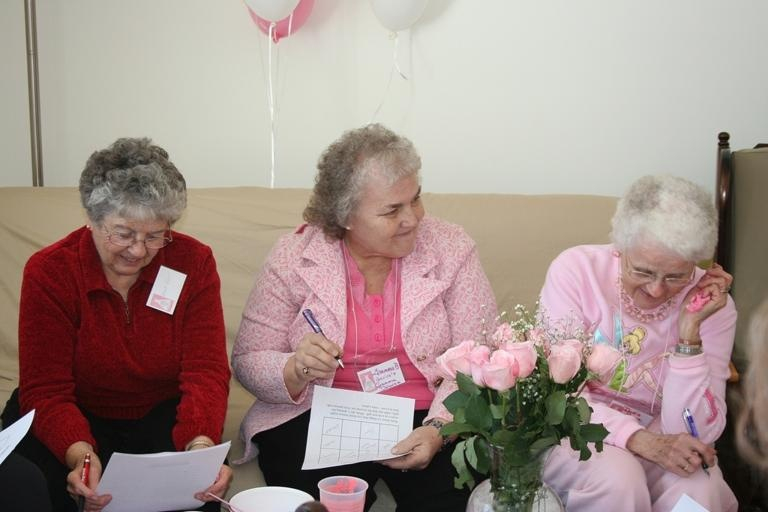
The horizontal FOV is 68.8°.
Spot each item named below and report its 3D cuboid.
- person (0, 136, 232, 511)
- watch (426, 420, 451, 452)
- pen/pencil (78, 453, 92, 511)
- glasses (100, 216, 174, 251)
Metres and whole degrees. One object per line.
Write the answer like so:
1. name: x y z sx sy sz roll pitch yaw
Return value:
1. person: -1.023 0.224 2.116 0.833 1.335 0.531 -2 8 -18
2. watch: 0.207 0.680 2.153 0.107 0.114 0.061 2 8 9
3. pen/pencil: -0.985 0.745 1.838 0.019 0.193 0.019 4 4 -8
4. glasses: -0.947 -0.076 2.117 0.226 0.111 0.081 -3 8 -29
